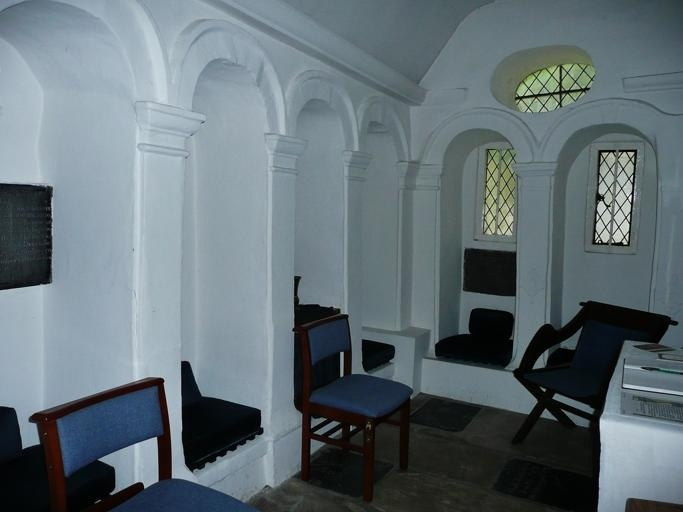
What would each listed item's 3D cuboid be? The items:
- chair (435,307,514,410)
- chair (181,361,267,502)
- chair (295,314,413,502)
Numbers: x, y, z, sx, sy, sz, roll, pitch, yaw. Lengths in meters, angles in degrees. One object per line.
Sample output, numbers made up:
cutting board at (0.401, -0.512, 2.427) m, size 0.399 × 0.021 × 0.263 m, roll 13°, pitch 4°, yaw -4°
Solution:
chair at (1.480, 0.876, 5.716) m, size 0.796 × 0.479 × 0.662 m, roll 5°, pitch 10°, yaw 21°
chair at (-0.957, 1.157, 3.666) m, size 0.575 × 0.410 × 0.602 m, roll 3°, pitch 5°, yaw 31°
chair at (0.106, 1.146, 4.043) m, size 0.785 × 1.238 × 0.794 m, roll 2°, pitch 6°, yaw 21°
